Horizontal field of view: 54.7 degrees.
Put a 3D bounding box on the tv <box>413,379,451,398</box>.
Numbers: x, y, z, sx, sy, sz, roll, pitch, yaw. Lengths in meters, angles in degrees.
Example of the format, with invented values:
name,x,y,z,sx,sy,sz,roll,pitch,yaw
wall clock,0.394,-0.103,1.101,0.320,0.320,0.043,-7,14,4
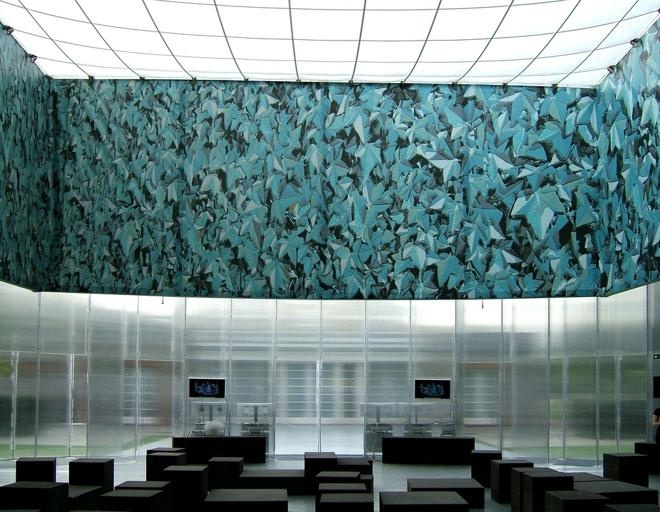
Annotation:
name,x,y,z,sx,sy,sz,roll,pitch,yaw
tv,3.663,4.720,22.803,1.274,0.704,0.265,-3,-9,7
